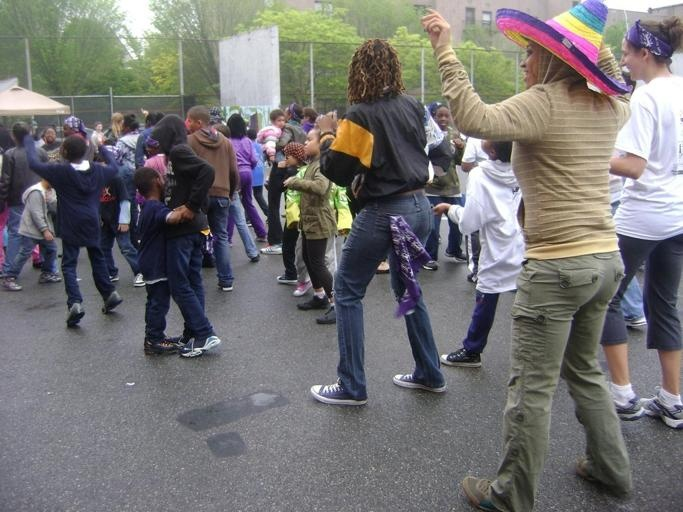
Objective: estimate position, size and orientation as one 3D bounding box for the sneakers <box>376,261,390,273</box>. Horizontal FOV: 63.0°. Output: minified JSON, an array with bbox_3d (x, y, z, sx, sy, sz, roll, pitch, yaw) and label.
[{"bbox_3d":[0.578,0.182,7.811,0.135,0.167,0.410,2,14,-3],"label":"sneakers"}]

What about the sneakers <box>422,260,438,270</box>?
[{"bbox_3d":[1.071,0.118,6.757,0.110,0.139,0.317,-1,-5,0],"label":"sneakers"}]

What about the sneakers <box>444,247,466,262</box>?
[{"bbox_3d":[1.762,0.006,8.582,0.334,0.163,0.133,6,7,39],"label":"sneakers"}]

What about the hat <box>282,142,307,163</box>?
[{"bbox_3d":[-0.583,-1.268,6.683,0.265,0.206,0.211,19,10,-4],"label":"hat"}]

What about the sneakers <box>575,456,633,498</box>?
[{"bbox_3d":[1.610,1.311,3.419,0.220,0.149,0.410,15,-14,45],"label":"sneakers"}]

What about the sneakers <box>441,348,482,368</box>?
[{"bbox_3d":[1.036,0.891,4.878,0.349,0.169,0.155,4,7,10],"label":"sneakers"}]

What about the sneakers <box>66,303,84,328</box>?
[{"bbox_3d":[-2.916,0.646,6.123,0.124,0.373,0.161,4,47,-39],"label":"sneakers"}]

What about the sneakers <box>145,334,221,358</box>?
[{"bbox_3d":[-1.517,0.861,5.281,0.426,0.204,0.154,8,3,7],"label":"sneakers"}]

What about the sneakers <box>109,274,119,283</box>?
[{"bbox_3d":[-3.229,0.319,7.893,0.123,0.151,0.338,3,-4,-19],"label":"sneakers"}]

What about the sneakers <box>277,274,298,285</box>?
[{"bbox_3d":[-0.759,0.318,7.600,0.328,0.155,0.126,7,9,22],"label":"sneakers"}]

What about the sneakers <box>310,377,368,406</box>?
[{"bbox_3d":[-0.038,1.030,4.345,0.487,0.234,0.176,10,0,10],"label":"sneakers"}]
